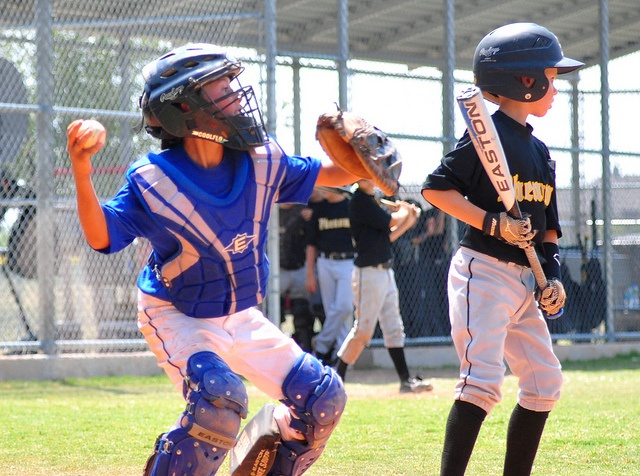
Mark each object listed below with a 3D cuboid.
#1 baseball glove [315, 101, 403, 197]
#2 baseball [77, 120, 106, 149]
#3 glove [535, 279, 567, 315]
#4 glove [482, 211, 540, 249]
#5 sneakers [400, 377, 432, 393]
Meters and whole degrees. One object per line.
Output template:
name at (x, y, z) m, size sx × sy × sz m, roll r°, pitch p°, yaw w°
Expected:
baseball glove at (0.268, -0.578, 7.434) m, size 0.235 × 0.608 × 0.466 m, roll -38°, pitch -4°, yaw -16°
baseball at (-1.439, -0.659, 7.042) m, size 0.169 × 0.205 × 0.172 m, roll 4°, pitch 1°, yaw 17°
glove at (1.598, 0.408, 7.575) m, size 0.202 × 0.134 × 0.240 m, roll 5°, pitch -21°, yaw -9°
glove at (1.290, -0.058, 7.439) m, size 0.294 × 0.238 × 0.110 m, roll 18°, pitch 26°, yaw 23°
sneakers at (0.922, 1.398, 10.479) m, size 0.281 × 0.122 × 0.130 m, roll -1°, pitch -1°, yaw -5°
